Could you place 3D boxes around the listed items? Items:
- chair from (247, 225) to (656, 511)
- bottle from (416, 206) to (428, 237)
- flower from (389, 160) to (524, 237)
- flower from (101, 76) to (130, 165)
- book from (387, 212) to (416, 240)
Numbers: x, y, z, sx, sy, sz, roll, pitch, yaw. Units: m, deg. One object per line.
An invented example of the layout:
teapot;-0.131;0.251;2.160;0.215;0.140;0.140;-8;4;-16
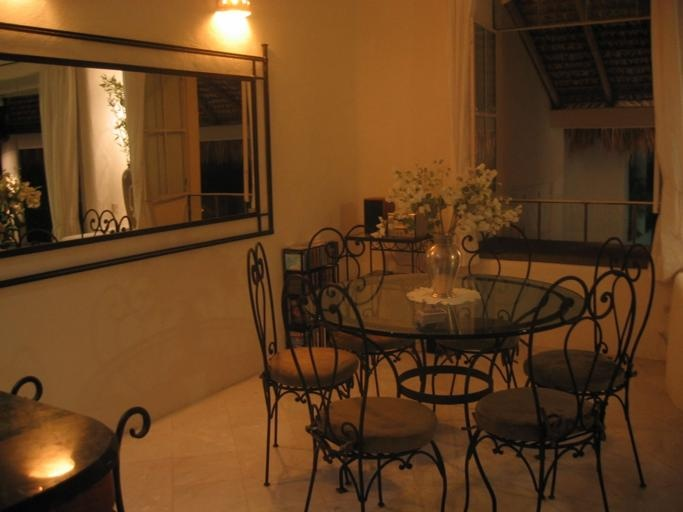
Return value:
chair;0.467;0.562;3.556;1.929;1.305;2.051;-4;8;-9
bottle;0.535;-0.233;4.157;0.080;0.156;0.155;0;7;13
flower;0.675;-0.354;3.860;0.692;0.522;0.614;-3;6;-33
flower;-1.323;-0.796;3.611;0.033;0.505;0.150;2;9;27
book;0.422;-0.224;4.686;0.296;0.173;0.217;-1;-4;-9
